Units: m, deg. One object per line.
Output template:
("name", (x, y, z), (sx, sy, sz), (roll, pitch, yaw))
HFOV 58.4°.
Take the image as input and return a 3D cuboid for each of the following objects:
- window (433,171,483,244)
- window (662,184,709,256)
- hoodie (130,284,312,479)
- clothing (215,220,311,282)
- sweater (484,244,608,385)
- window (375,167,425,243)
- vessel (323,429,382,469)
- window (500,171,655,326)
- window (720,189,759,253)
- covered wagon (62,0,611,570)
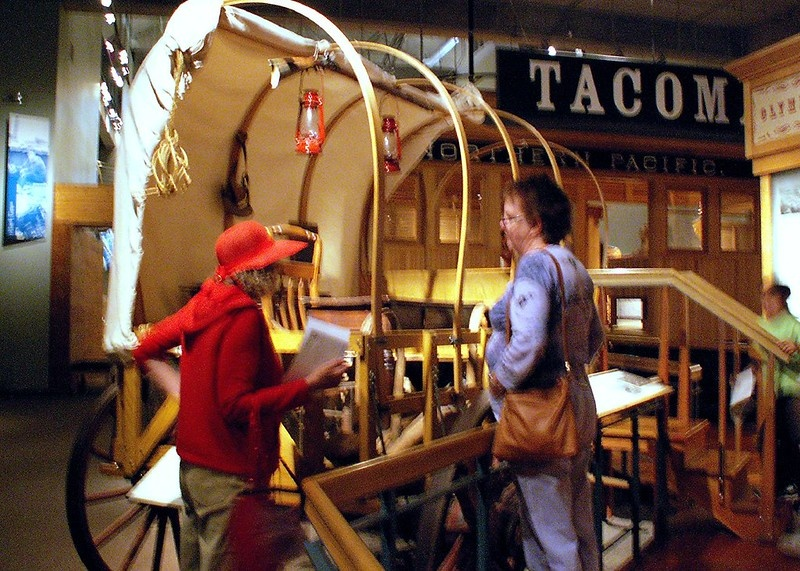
("window", (0.942, -1.234, 11.668), (0.126, 1.303, 0.910), (17, 9, 21))
("window", (5.351, -1.246, 13.476), (0.472, 0.517, 1.132), (3, -5, -8))
("hoodie", (-1.180, 0.548, 4.585), (1.271, 1.146, 0.608), (6, 3, 30))
("clothing", (-0.893, -0.192, 4.518), (0.438, 0.204, 0.349), (-17, 12, -10))
("sweater", (0.963, 0.264, 4.848), (0.605, 1.107, 1.074), (-1, 2, 43))
("window", (0.000, -1.199, 11.126), (0.590, 1.179, 0.133), (3, -14, 0))
("vessel", (-0.396, 1.255, 5.582), (0.324, 0.216, 0.301), (2, 1, 22))
("window", (3.528, -1.217, 14.371), (1.673, 2.242, 1.600), (3, 21, -38))
("window", (6.130, -1.095, 12.978), (0.605, 1.014, 0.560), (1, 0, 27))
("covered wagon", (-0.779, -0.727, 6.814), (3.290, 4.501, 4.870), (1, 1, 22))
